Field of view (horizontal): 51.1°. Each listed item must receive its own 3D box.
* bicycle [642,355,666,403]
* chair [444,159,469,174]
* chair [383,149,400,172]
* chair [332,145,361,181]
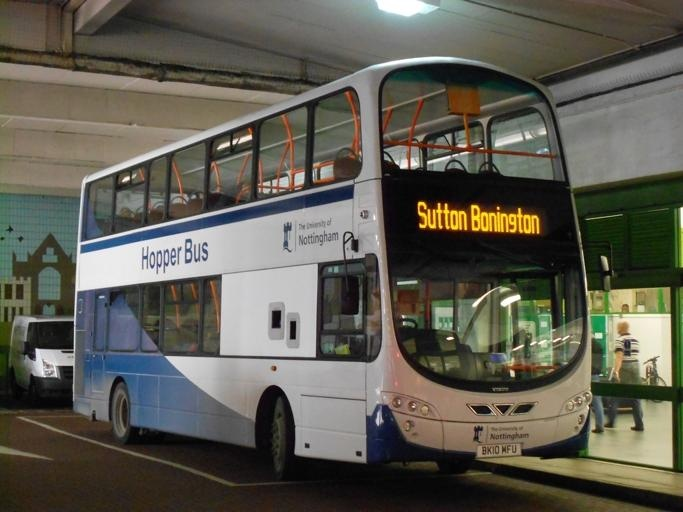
[{"bbox_3d":[5.256,1.950,12.153,0.320,0.488,0.765,-4,11,27],"label":"bicycle"},{"bbox_3d":[1.557,-1.191,9.729,0.255,0.239,0.240,2,-5,-33],"label":"chair"},{"bbox_3d":[0.618,-1.165,9.122,0.118,0.269,0.228,-29,4,-28],"label":"chair"},{"bbox_3d":[0.104,-1.254,9.667,0.226,0.324,0.324,-24,16,-17],"label":"chair"}]
